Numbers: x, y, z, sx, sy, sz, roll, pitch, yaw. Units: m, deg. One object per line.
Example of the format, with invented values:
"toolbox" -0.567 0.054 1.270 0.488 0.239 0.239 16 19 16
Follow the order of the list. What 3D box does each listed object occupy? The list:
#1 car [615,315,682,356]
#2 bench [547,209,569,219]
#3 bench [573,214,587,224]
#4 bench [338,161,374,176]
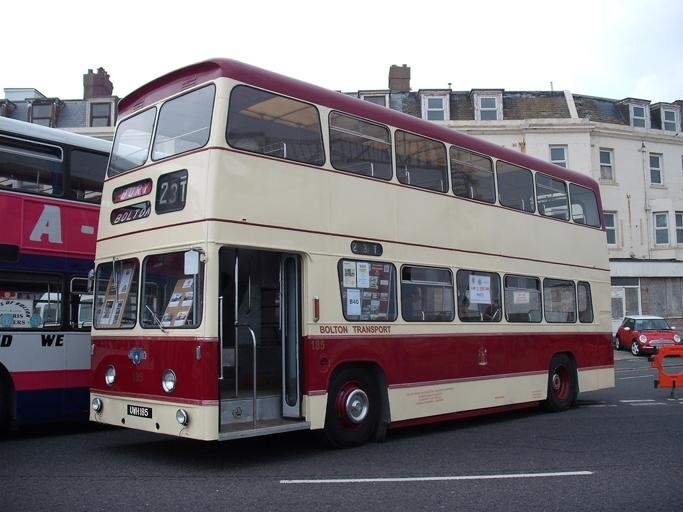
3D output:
"car" 15.382 3.969 30.438 1.708 1.983 3.551 0 -5 -3
"bench" 5.174 -1.004 14.426 0.360 0.097 0.357 2 -2 -29
"bench" 5.958 -0.943 15.162 0.303 0.312 0.081 9 -5 -36
"bench" 0.290 -1.446 10.287 0.267 0.175 0.453 -6 -9 33
